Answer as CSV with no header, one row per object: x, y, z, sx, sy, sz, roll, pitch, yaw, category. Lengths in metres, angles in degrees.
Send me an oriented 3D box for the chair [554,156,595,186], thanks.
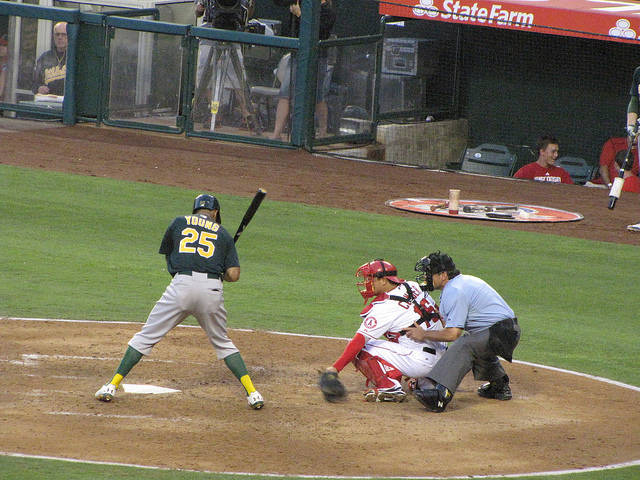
5.607,-1.499,28.402,0.776,0.849,0.989,6,5,21,chair

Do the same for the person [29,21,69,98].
-5.461,-3.641,26.371,0.704,1.505,0.375,5,8,-3,person

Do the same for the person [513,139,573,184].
4.443,-1.533,25.770,1.415,0.913,0.565,5,12,-27,person

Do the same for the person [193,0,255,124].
-1.895,-3.609,26.318,1.334,2.476,0.756,5,8,-6,person

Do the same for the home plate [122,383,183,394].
-2.031,1.815,15.811,0.669,0.055,0.243,3,7,-9,home plate

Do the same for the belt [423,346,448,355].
1.361,1.368,16.007,0.177,0.084,0.047,0,9,-31,belt

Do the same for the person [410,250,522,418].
1.856,1.148,15.993,1.458,1.908,0.900,3,8,-13,person

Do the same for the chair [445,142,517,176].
3.720,-1.742,28.704,1.246,0.388,0.860,7,5,31,chair

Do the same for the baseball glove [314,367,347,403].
0.170,1.788,15.779,0.345,0.390,0.125,-18,24,17,baseball glove

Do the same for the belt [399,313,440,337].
1.235,1.023,15.988,0.362,0.086,0.307,-33,-5,8,belt
